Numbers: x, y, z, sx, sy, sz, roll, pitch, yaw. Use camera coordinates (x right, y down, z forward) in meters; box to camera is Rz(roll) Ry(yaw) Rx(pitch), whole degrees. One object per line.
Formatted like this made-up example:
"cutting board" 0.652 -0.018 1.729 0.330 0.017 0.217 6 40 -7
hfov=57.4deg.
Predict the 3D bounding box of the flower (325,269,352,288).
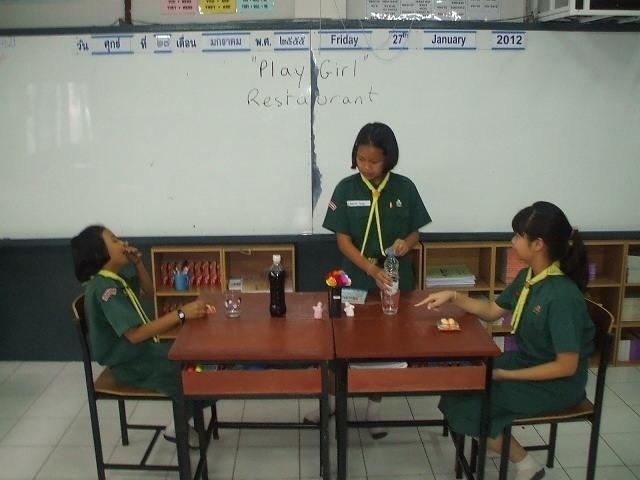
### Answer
"flower" 0.103 0.215 3.248 0.096 0.078 0.108 1 -5 14

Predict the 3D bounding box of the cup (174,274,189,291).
"cup" -1.066 0.319 4.462 0.108 0.137 0.115 1 2 0

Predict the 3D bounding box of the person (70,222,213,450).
"person" -0.997 0.591 3.499 0.679 1.410 0.570 -11 11 -14

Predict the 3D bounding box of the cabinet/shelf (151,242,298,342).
"cabinet/shelf" -0.663 0.330 3.890 0.664 0.692 0.204 -1 6 -4

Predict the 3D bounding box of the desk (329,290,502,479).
"desk" 0.458 0.567 3.254 0.976 0.825 0.815 -2 10 -3

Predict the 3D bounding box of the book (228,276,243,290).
"book" -0.669 0.336 4.586 0.091 0.104 0.179 2 -4 -1

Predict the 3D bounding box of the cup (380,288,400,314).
"cup" 0.386 0.345 3.283 0.109 0.136 0.115 0 2 0

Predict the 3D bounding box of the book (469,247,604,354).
"book" 1.201 0.344 3.230 0.411 0.595 0.645 -3 10 -5

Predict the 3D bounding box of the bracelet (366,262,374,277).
"bracelet" 0.302 0.181 3.587 0.026 0.074 0.052 3 7 20

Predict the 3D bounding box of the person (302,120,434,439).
"person" 0.407 0.263 3.993 0.729 2.043 0.726 -15 34 -21

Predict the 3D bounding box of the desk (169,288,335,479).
"desk" -0.324 0.547 3.320 1.055 1.115 0.854 -1 10 0
